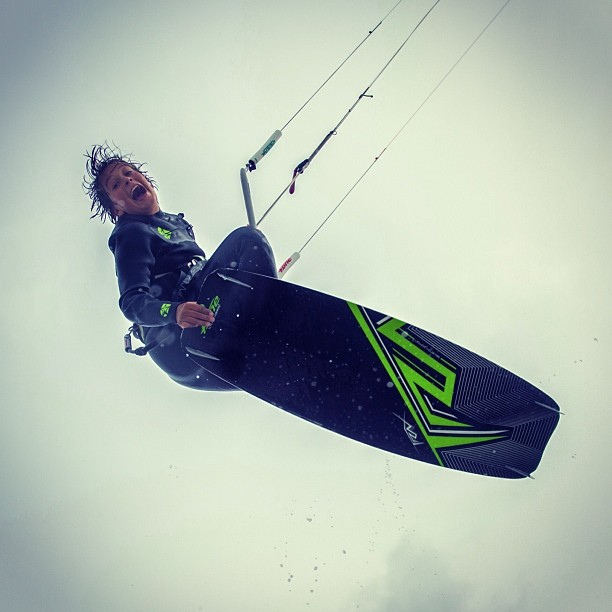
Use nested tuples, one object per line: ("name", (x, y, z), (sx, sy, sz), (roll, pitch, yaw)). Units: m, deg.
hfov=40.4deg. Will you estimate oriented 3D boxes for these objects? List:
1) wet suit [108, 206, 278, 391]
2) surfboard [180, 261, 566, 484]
("wet suit", (-0.918, -0.027, 6.728), (1.646, 0.962, 1.099), (42, -7, 10))
("surfboard", (0.680, 0.592, 6.667), (4.428, 1.307, 0.477), (24, -43, -32))
